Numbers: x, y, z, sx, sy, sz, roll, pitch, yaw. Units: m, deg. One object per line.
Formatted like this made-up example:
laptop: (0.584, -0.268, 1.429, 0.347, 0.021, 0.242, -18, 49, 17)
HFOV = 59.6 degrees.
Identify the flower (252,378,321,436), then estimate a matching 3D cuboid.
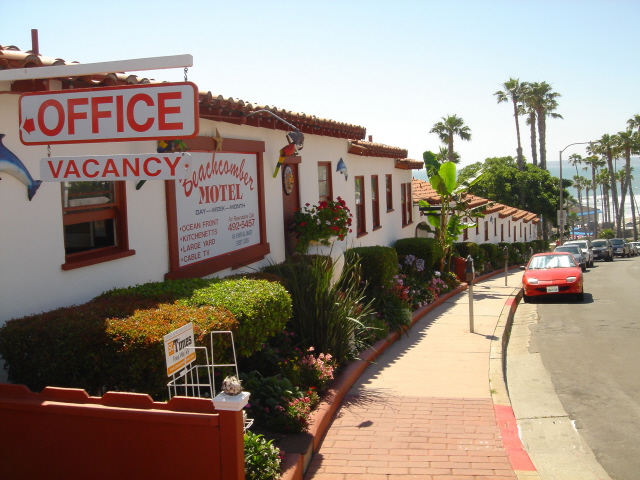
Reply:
flower: (-0.531, 2.067, 7.072, 0.591, 0.291, 0.589, 10, 8, 3)

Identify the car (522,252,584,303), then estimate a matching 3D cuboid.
car: (7.676, 1.121, 18.640, 1.239, 1.066, 2.557, -5, -8, 18)

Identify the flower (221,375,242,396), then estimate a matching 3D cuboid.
flower: (-0.791, 1.297, 5.057, 0.167, 0.196, 0.213, 5, -1, 5)

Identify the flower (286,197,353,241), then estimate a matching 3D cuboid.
flower: (0.154, -0.502, 13.159, 1.274, 0.800, 0.974, -9, 20, 3)
